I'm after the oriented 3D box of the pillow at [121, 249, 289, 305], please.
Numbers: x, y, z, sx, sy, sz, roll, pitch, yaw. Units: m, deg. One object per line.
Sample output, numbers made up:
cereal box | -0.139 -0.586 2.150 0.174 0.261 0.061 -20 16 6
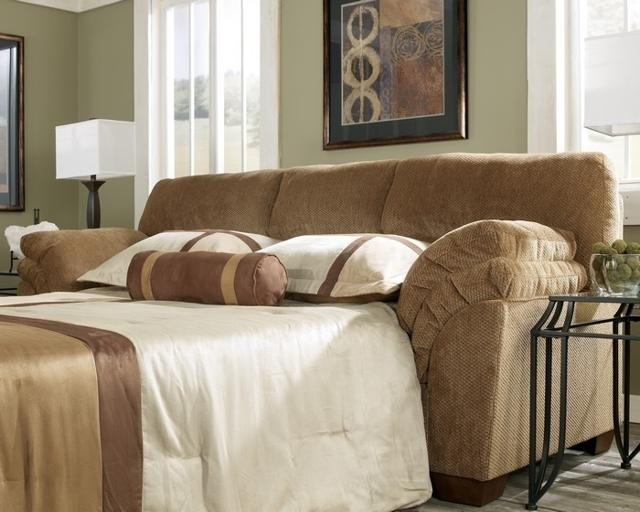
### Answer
pillow | -0.423 0.078 2.455 0.644 0.215 0.202 0 -1 39
